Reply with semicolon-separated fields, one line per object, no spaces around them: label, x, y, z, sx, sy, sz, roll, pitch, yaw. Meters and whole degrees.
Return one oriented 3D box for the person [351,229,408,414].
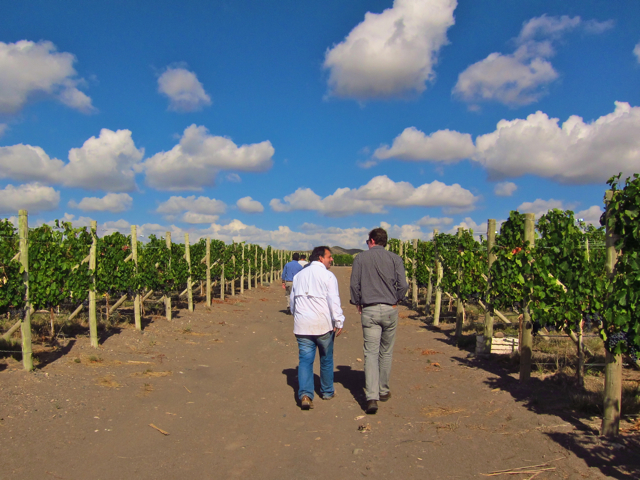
person;1.091;1.419;10.122;1.013;3.348;0.893;0;4;6

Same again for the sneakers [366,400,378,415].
sneakers;0.963;2.982;9.966;0.232;0.272;0.209;-1;4;-5
